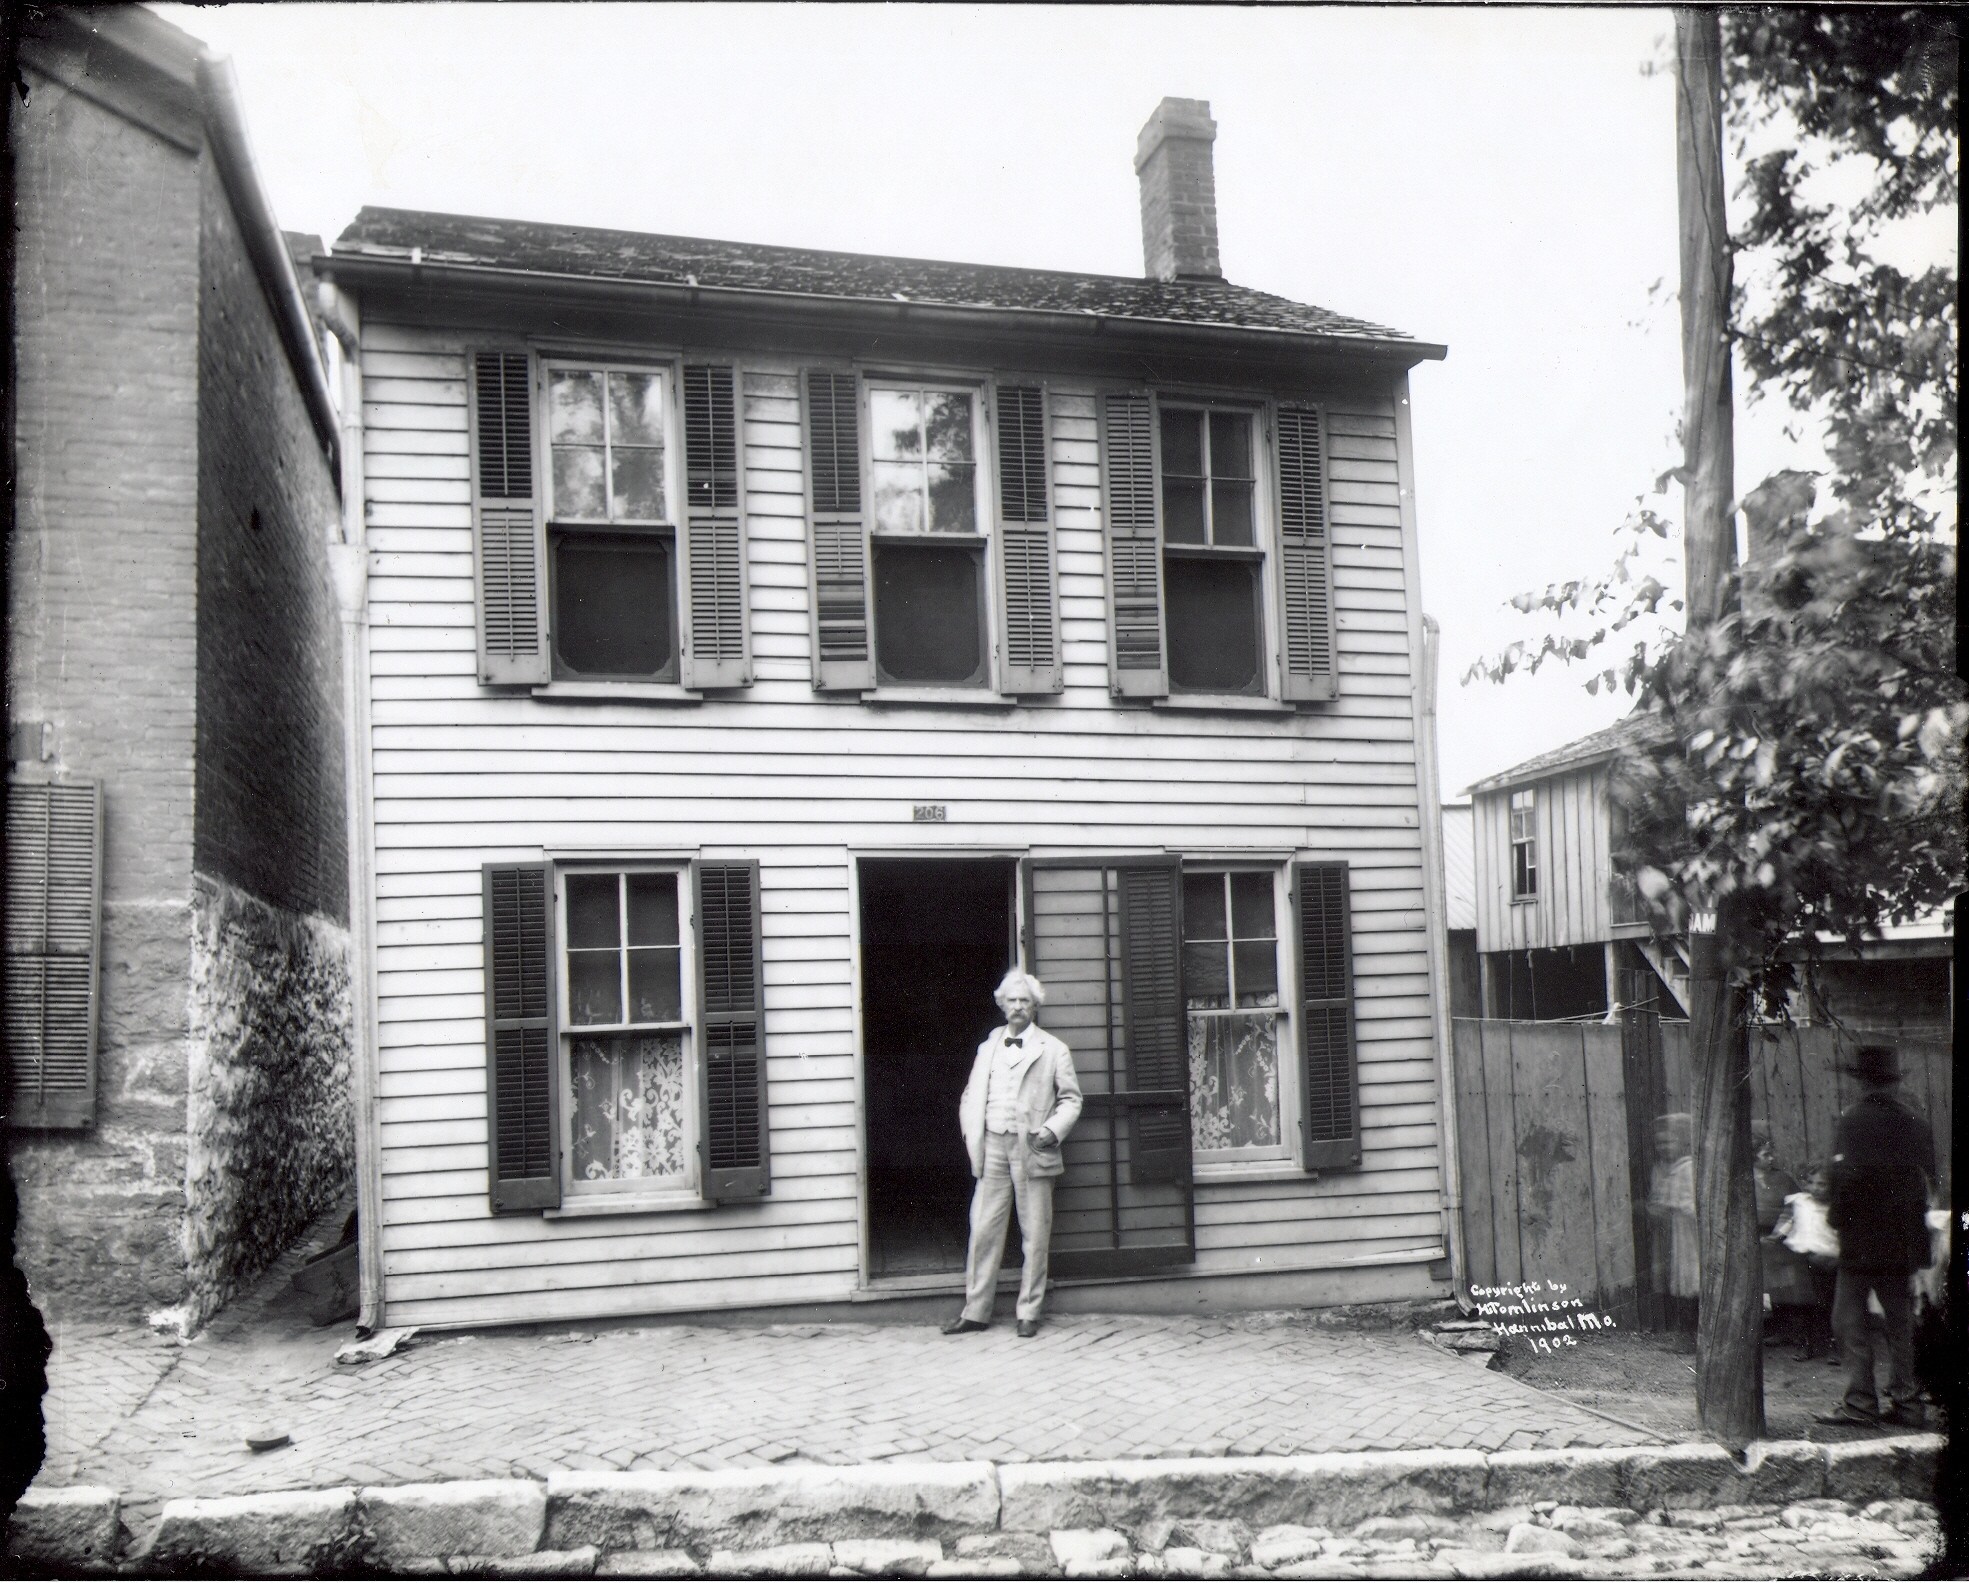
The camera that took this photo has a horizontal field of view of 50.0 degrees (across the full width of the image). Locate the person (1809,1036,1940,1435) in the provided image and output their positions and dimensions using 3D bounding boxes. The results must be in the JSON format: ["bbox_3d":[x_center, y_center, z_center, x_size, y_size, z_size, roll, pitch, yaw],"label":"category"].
[{"bbox_3d":[4.762,2.458,11.034,0.533,1.747,0.610,-3,-7,26],"label":"person"}]

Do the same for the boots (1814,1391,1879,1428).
[{"bbox_3d":[4.640,3.277,11.231,0.370,0.201,0.137,-2,-5,35],"label":"boots"}]

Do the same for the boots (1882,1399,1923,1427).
[{"bbox_3d":[4.860,3.255,11.023,0.093,0.164,0.154,3,-14,-27],"label":"boots"}]

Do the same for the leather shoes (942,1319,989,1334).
[{"bbox_3d":[-0.094,3.096,12.285,0.251,0.127,0.095,7,-11,-21],"label":"leather shoes"}]

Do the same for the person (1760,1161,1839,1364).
[{"bbox_3d":[4.786,2.708,12.217,0.585,1.010,0.272,3,4,20],"label":"person"}]

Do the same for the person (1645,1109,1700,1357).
[{"bbox_3d":[4.165,2.601,12.637,0.256,1.396,0.673,-2,-6,17],"label":"person"}]

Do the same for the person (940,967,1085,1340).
[{"bbox_3d":[0.202,2.102,12.322,0.752,2.090,0.334,0,-6,5],"label":"person"}]

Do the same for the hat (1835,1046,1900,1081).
[{"bbox_3d":[4.782,1.457,11.273,0.310,0.186,0.341,3,-4,-1],"label":"hat"}]
